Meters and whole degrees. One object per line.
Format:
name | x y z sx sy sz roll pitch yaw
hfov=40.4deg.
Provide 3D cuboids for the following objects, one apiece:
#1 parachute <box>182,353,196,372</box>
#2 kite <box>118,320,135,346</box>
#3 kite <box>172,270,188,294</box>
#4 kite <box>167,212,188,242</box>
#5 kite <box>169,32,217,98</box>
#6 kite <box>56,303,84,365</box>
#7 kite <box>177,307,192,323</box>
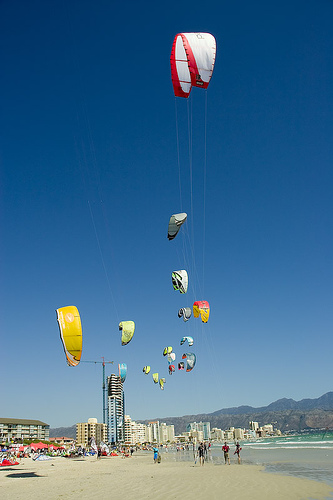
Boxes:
parachute | 1.577 7.655 31.051 0.594 1.237 1.174 -7 -22 -2
kite | -1.842 3.813 21.121 0.667 1.350 1.957 -4 -23 -7
kite | 0.704 1.737 24.328 0.735 1.281 0.675 -6 -21 -4
kite | 0.527 -0.827 17.735 1.055 0.484 2.071 -53 5 10
kite | 0.693 -5.294 12.898 1.232 1.099 1.373 -6 -22 -4
kite | -2.620 2.293 12.246 0.592 1.452 0.594 -2 -22 -13
kite | 1.105 4.031 28.375 0.769 0.941 1.927 -9 -22 3
